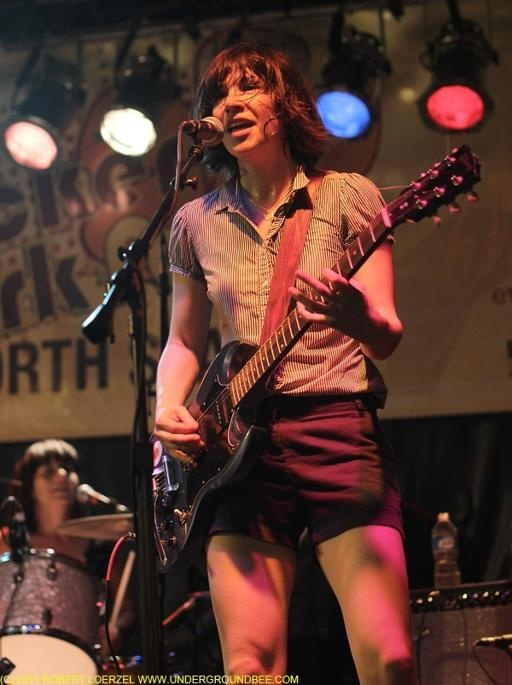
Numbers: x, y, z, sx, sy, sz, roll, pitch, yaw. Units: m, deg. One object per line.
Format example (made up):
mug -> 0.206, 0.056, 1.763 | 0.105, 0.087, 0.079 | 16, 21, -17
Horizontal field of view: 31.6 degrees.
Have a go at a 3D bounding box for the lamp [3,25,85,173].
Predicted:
lamp -> -1.094, -1.232, 4.697 | 0.422, 0.585, 0.945 | -5, 24, -9

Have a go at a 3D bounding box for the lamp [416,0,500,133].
lamp -> 0.968, -1.301, 4.328 | 0.358, 0.641, 0.520 | 3, 26, 9

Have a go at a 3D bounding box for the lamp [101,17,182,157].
lamp -> -0.591, -1.257, 4.523 | 0.428, 0.659, 0.680 | 1, 31, 7

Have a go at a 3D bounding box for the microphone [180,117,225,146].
microphone -> -0.164, -0.603, 2.587 | 0.131, 0.068, 0.065 | -7, 33, -39
